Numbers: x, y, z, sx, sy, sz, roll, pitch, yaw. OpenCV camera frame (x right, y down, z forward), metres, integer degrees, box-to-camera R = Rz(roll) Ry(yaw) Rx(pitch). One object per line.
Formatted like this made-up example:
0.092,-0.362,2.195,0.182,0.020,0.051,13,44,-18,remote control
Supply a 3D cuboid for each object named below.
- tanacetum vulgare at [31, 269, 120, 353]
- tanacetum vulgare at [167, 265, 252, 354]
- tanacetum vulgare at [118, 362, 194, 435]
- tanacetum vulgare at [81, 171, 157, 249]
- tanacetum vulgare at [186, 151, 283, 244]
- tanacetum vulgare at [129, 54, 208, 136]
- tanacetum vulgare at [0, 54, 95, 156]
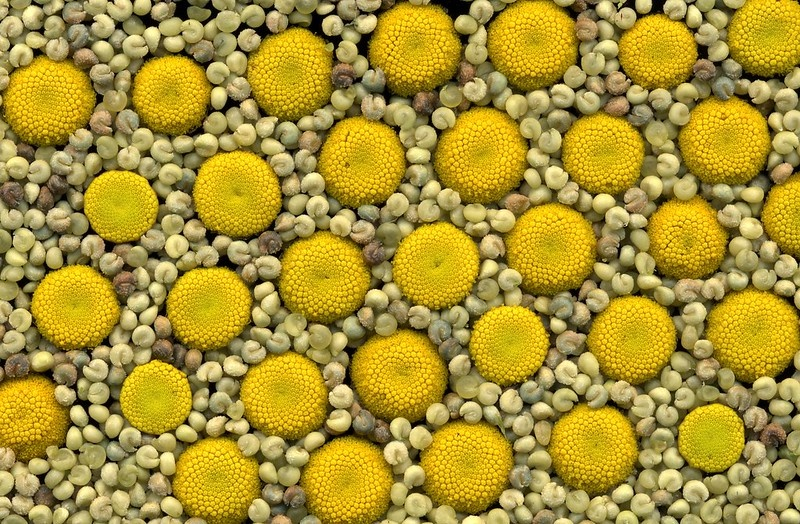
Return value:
-1.283,0.177,3.639,0.325,0.087,0.323,42,85,6,tanacetum vulgare
-0.757,0.179,3.646,0.319,0.081,0.301,-8,82,0,tanacetum vulgare
-0.967,0.538,3.645,0.270,0.063,0.280,-22,82,-2,tanacetum vulgare
-1.104,-0.221,3.635,0.279,0.083,0.278,-39,83,-4,tanacetum vulgare
-0.646,-0.269,3.653,0.342,0.103,0.335,17,82,3,tanacetum vulgare
-0.907,-0.660,3.637,0.308,0.101,0.298,7,82,2,tanacetum vulgare
-1.382,-0.641,3.619,0.351,0.091,0.319,-37,83,-4,tanacetum vulgare
